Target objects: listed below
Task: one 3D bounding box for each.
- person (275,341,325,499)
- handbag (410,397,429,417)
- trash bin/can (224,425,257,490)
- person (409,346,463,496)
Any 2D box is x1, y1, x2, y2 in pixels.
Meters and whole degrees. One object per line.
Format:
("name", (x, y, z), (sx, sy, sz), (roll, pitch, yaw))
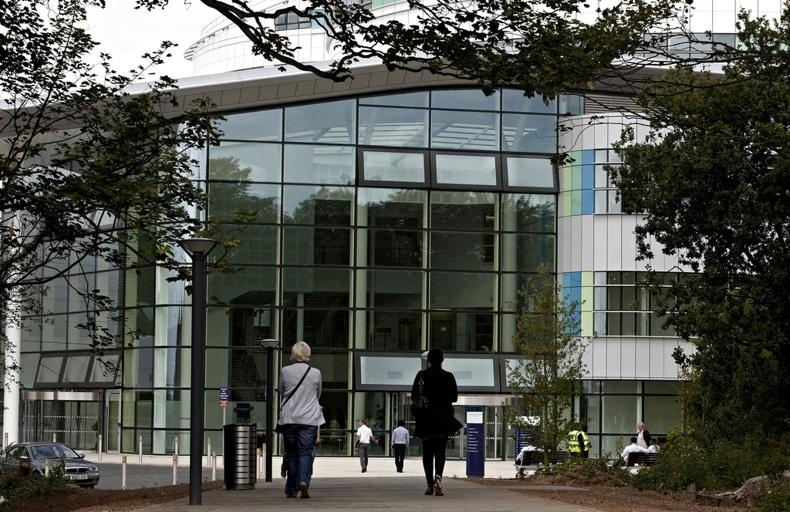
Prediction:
("person", (-2.334, 4.068, 38.429), (1.101, 3.789, 1.062), (-1, -2, -5))
("handbag", (0.632, 3.801, 38.931), (0.374, 0.482, 0.476), (1, -2, -2))
("trash bin/can", (-4.097, 5.438, 41.883), (1.045, 1.583, 1.003), (3, -7, -26))
("person", (1.058, 4.102, 38.945), (1.541, 3.328, 1.166), (-1, 6, 1))
